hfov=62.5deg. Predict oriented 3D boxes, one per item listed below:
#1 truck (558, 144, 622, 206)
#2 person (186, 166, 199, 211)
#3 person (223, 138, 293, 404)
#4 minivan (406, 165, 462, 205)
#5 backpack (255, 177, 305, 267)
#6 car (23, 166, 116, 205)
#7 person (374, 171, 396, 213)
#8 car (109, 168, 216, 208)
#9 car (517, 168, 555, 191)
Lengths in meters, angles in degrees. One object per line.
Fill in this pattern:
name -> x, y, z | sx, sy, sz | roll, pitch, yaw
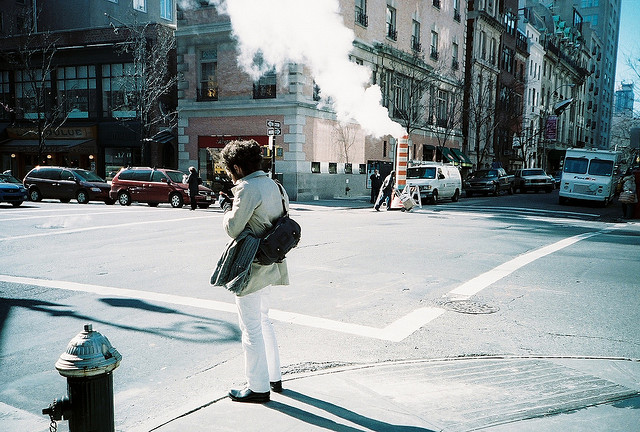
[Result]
truck -> 14.338, -2.079, 28.023 | 2.678, 2.916, 3.019 | 6, 12, 25
person -> -5.334, -1.167, 22.149 | 0.442, 1.797, 0.832 | -2, 11, -14
person -> -0.706, 0.601, 6.014 | 0.712, 2.815, 0.870 | -1, 11, -11
minivan -> 6.153, -1.738, 29.283 | 2.472, 2.002, 4.685 | 1, 3, 37
backpack -> -0.601, 0.057, 6.011 | 0.435, 0.806, 0.616 | 11, 31, 38
car -> -12.026, -1.433, 25.008 | 4.125, 1.660, 1.012 | 2, 11, 5
person -> 2.938, -1.126, 23.576 | 0.807, 1.764, 1.604 | 3, 11, 10
car -> -7.029, -1.332, 24.016 | 4.109, 1.629, 2.006 | 1, 3, 16
car -> 16.181, -2.821, 40.415 | 1.459, 1.107, 2.632 | -1, 0, 2
